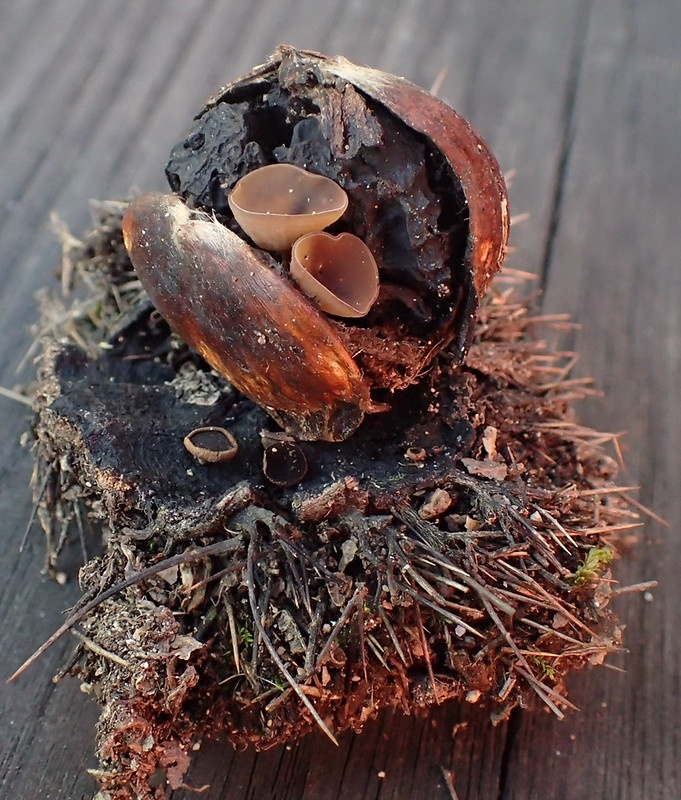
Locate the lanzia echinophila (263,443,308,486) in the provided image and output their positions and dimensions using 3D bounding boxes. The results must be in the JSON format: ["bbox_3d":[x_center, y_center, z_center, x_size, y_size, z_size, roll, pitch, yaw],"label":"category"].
[{"bbox_3d":[-0.130,0.150,2.313,0.097,0.044,0.114,-7,62,3],"label":"lanzia echinophila"}]

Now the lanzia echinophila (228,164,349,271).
[{"bbox_3d":[-0.110,-0.416,2.111,0.233,0.123,0.166,-17,63,-2],"label":"lanzia echinophila"}]
